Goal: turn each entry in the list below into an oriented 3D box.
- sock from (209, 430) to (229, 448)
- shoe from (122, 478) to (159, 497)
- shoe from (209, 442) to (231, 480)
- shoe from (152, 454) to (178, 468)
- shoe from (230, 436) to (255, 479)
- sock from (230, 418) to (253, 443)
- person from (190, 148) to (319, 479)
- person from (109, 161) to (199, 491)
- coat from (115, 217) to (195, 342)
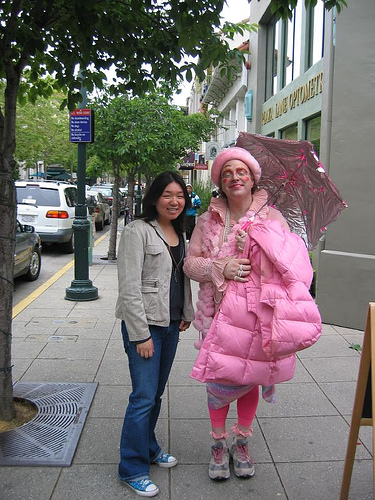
[{"bbox_3d":[0.174,1.037,2.243,0.092,0.098,0.093,-4,0,10],"label":"sock"},{"bbox_3d":[-0.213,1.107,1.914,0.166,0.066,0.064,-7,-9,43],"label":"shoe"},{"bbox_3d":[0.168,1.103,2.168,0.105,0.125,0.278,-2,0,7],"label":"shoe"},{"bbox_3d":[-0.121,1.138,2.202,0.130,0.052,0.050,-3,1,5],"label":"shoe"},{"bbox_3d":[0.288,1.101,2.206,0.102,0.130,0.292,1,3,-4],"label":"shoe"},{"bbox_3d":[0.291,0.995,2.300,0.141,0.144,0.139,0,-14,7],"label":"sock"},{"bbox_3d":[0.288,0.347,2.027,0.529,1.709,0.787,2,2,-7],"label":"person"},{"bbox_3d":[-0.213,0.373,2.534,0.446,1.641,1.348,2,2,-6],"label":"person"},{"bbox_3d":[-0.201,0.122,2.056,0.359,0.553,0.310,-6,18,-33],"label":"coat"}]
